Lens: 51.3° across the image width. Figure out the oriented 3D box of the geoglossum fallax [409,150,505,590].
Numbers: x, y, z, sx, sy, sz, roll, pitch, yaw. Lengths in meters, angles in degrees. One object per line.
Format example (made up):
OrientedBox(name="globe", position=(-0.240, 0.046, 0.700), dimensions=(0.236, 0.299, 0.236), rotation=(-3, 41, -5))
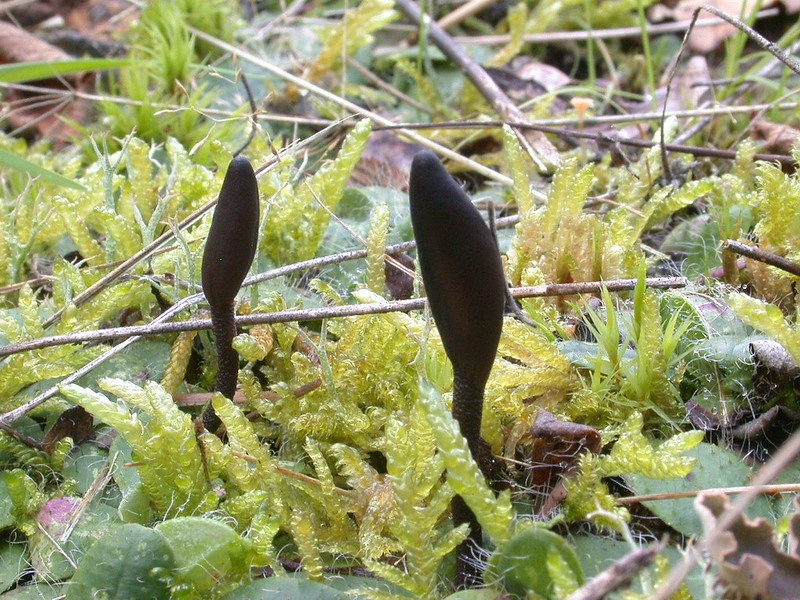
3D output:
OrientedBox(name="geoglossum fallax", position=(0.069, 0.101, 0.964), dimensions=(0.108, 0.514, 0.089), rotation=(-8, 17, -20))
